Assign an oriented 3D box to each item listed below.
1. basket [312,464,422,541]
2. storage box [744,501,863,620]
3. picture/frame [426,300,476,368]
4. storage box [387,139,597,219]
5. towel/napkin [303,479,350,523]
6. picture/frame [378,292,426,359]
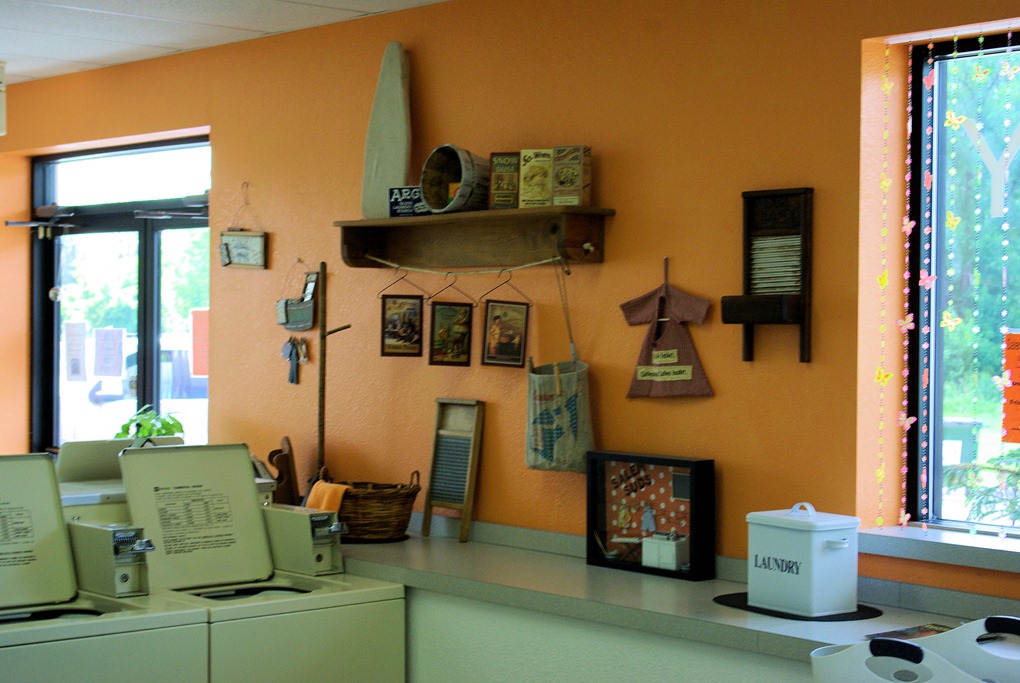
[{"bbox_3d":[-0.673,0.851,4.848,0.419,0.232,0.379,0,-1,1],"label":"basket"},{"bbox_3d":[1.193,0.865,3.676,0.305,0.377,0.456,5,-9,-31],"label":"storage box"},{"bbox_3d":[-0.309,-0.040,4.885,0.411,0.490,0.040,2,0,36],"label":"picture/frame"},{"bbox_3d":[-0.130,-0.808,4.572,1.102,0.352,0.265,0,1,25],"label":"storage box"},{"bbox_3d":[-0.963,0.813,4.729,0.189,0.167,0.064,5,-13,34],"label":"towel/napkin"},{"bbox_3d":[-0.605,-0.086,5.042,0.327,0.359,0.020,1,2,33],"label":"picture/frame"}]
